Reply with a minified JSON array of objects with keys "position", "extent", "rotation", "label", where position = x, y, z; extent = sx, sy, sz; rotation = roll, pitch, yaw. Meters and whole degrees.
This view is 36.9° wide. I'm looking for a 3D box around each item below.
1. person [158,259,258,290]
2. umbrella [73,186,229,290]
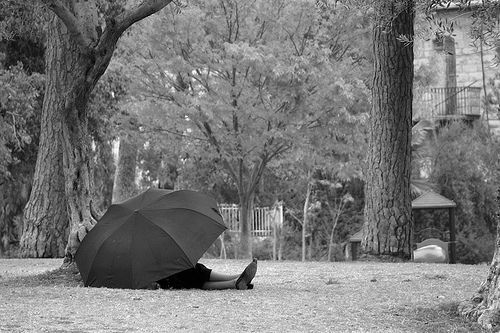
[{"position":[-0.930,2.489,17.124],"extent":[1.494,0.687,1.003],"rotation":[0,-5,0],"label":"person"},{"position":[-2.281,1.587,17.031],"extent":[3.121,2.283,0.815],"rotation":[-1,-5,7],"label":"umbrella"}]
